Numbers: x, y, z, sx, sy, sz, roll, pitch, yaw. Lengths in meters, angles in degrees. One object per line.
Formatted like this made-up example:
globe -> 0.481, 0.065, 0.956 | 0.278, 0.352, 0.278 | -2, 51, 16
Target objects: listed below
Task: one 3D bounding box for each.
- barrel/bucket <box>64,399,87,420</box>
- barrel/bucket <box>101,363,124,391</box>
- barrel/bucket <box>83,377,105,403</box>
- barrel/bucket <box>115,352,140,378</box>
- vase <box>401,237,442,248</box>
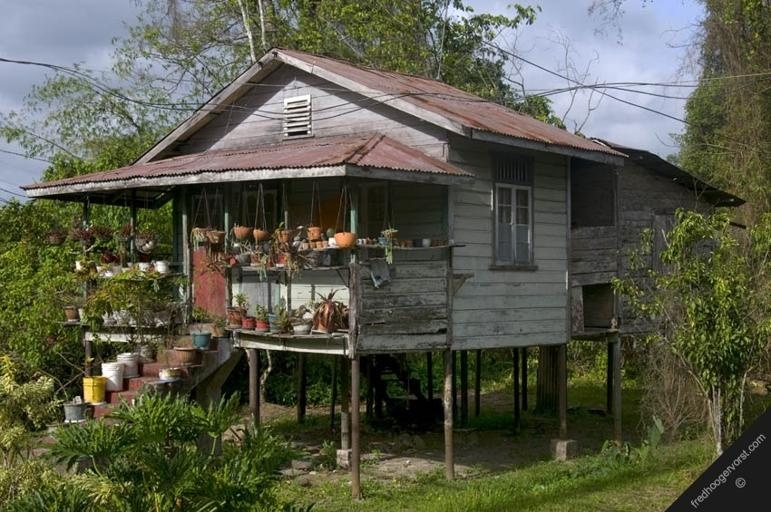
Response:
barrel/bucket -> -7.486, 3.775, 23.837 | 0.523, 0.451, 0.404 | -2, 5, -19
barrel/bucket -> -6.794, 2.991, 24.530 | 0.614, 0.671, 0.622 | 0, 0, 0
barrel/bucket -> -7.257, 3.286, 24.339 | 0.553, 0.602, 0.572 | -1, -3, 0
barrel/bucket -> -6.509, 2.754, 24.996 | 0.561, 0.605, 0.574 | 0, 0, 0
vase -> 0.963, -0.323, 24.723 | 1.045, 0.198, 0.417 | -2, 5, -19
